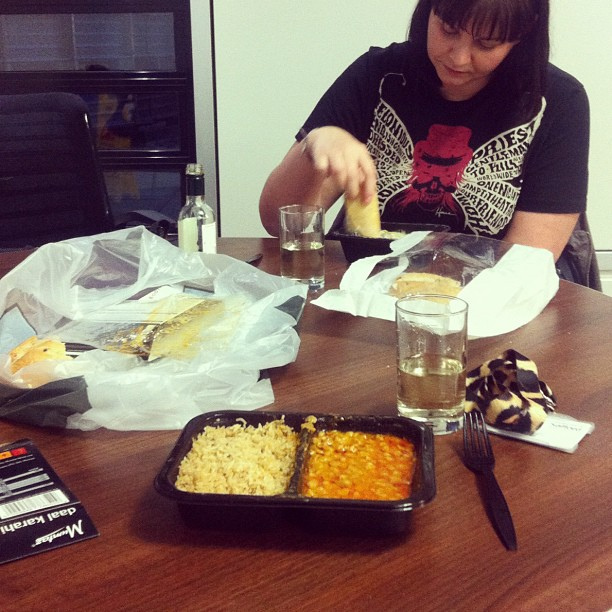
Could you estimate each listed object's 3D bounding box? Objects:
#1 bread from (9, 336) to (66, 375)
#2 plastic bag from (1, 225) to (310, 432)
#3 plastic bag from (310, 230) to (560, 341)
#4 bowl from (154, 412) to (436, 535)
[{"bbox_3d":[-0.338,0.052,0.708,0.063,0.058,0.017,23,18,-27],"label":"bread"},{"bbox_3d":[-0.208,0.018,0.726,0.324,0.106,0.336,8,23,6],"label":"plastic bag"},{"bbox_3d":[0.262,-0.048,1.016,0.301,0.106,0.301,-21,29,-41],"label":"plastic bag"},{"bbox_3d":[-0.005,0.157,0.533,0.188,0.032,0.120,2,19,2],"label":"bowl"}]
